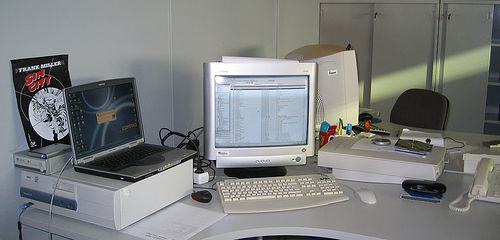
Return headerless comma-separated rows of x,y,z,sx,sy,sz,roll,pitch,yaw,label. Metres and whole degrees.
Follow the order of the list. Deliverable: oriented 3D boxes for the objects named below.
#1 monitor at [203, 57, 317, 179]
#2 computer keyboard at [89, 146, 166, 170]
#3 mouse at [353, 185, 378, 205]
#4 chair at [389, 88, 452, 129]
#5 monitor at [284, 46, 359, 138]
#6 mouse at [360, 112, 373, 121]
0.073,-0.032,2.638,1.093,0.923,0.588,-1,5,-8,monitor
-0.879,0.270,2.448,0.462,0.073,0.193,-13,19,-42,computer keyboard
0.888,0.550,2.484,0.183,0.086,0.162,-10,17,-34,mouse
1.961,-0.130,4.004,0.533,0.635,0.598,13,24,35,chair
0.782,-0.264,3.679,0.839,0.998,0.944,0,0,0,monitor
1.269,-0.036,3.676,0.113,0.088,0.280,6,15,25,mouse
